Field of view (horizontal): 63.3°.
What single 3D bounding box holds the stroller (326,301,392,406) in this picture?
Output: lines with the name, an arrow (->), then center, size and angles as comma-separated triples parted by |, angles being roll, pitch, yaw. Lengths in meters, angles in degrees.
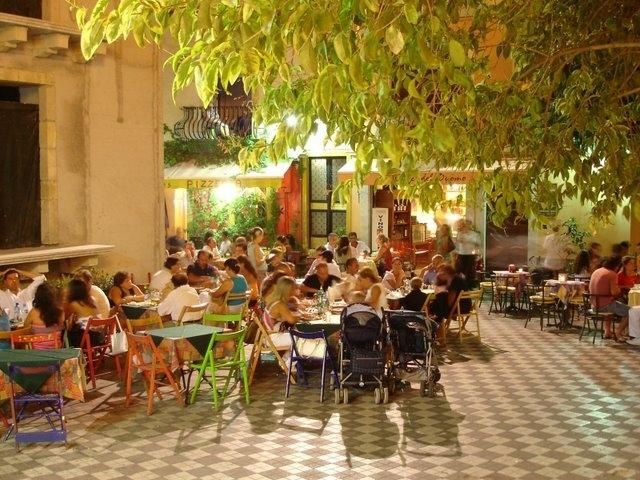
stroller -> 0.688, 1.802, 8.728 | 0.914, 1.513, 1.636 | 0, 0, 6

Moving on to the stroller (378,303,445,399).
stroller -> 1.531, 1.833, 8.798 | 1.049, 1.401, 0.988 | -3, 2, -35

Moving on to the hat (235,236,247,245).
hat -> -2.145, 0.003, 14.056 | 0.261, 0.193, 0.326 | 4, -1, -7
